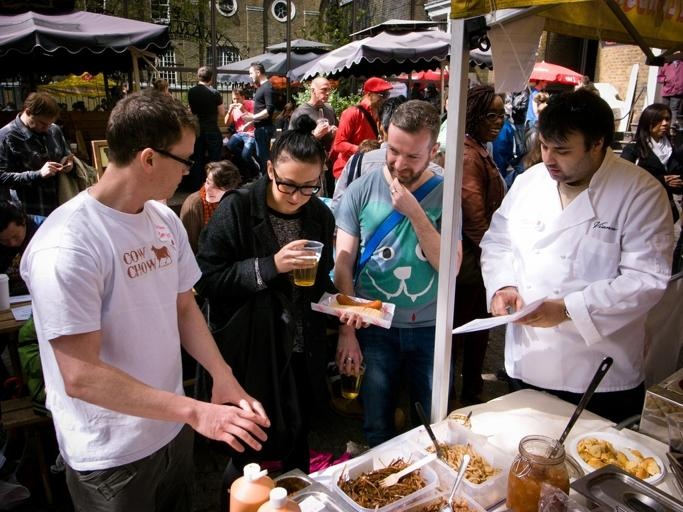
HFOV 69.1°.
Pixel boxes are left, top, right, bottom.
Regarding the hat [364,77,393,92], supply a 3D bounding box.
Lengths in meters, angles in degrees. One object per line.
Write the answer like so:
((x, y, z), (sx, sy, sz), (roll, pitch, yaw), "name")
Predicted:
((0.585, -2.641, 7.825), (0.396, 0.218, 0.286), (-14, 32, -22), "hat")

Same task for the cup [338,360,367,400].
((0.049, 0.786, 3.082), (0.198, 0.230, 0.195), (1, 3, 0), "cup")

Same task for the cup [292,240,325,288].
((-0.184, 0.053, 2.760), (0.215, 0.261, 0.213), (1, 17, 0), "cup")

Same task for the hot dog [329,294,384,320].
((0.087, 0.278, 2.880), (0.350, 0.119, 0.099), (9, 20, 19), "hot dog")

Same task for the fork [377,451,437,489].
((0.283, 0.926, 2.130), (0.223, 0.038, 0.032), (-24, -4, -16), "fork")

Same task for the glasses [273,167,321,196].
((-0.245, -0.417, 2.814), (0.265, 0.152, 0.183), (-7, 15, -13), "glasses")

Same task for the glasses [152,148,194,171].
((-0.725, -0.433, 2.201), (0.089, 0.105, 0.228), (0, 15, 14), "glasses")
